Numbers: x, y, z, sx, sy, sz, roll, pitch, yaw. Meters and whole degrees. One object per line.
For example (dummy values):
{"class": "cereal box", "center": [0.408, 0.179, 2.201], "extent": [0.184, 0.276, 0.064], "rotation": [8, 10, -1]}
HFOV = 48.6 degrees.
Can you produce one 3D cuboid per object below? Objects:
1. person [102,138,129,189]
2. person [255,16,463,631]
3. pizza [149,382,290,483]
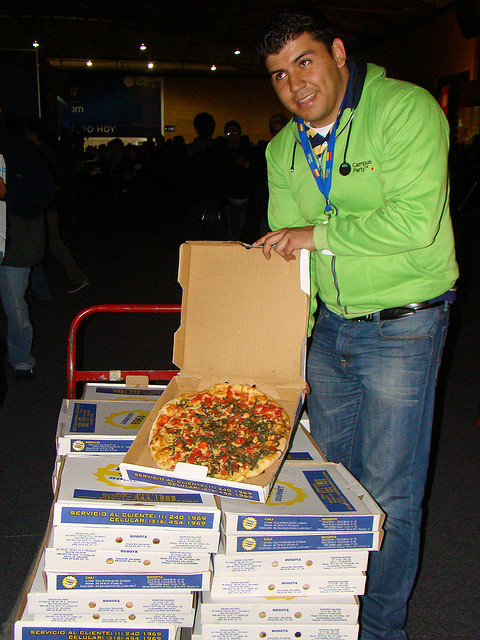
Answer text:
{"class": "person", "center": [-4.336, -5.450, 18.583], "extent": [0.827, 1.669, 1.311], "rotation": [-3, 15, -20]}
{"class": "person", "center": [0.352, 0.072, 1.790], "extent": [0.667, 1.946, 0.440], "rotation": [10, 16, 27]}
{"class": "pizza", "center": [-0.048, 0.330, 1.654], "extent": [0.380, 0.418, 0.047], "rotation": [-8, 33, -10]}
